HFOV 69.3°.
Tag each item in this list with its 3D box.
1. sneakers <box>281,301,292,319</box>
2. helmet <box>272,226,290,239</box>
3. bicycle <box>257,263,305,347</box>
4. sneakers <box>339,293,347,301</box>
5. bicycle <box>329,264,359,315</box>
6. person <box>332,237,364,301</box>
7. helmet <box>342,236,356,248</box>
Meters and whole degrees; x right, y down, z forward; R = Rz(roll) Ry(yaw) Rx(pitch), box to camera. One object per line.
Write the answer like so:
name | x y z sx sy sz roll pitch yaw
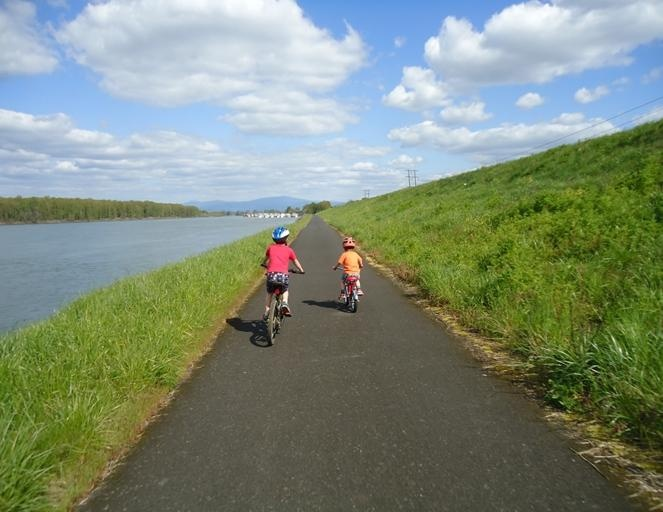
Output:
sneakers | -0.890 1.056 9.350 0.124 0.184 0.405 -3 -24 -2
helmet | -0.989 -0.389 9.287 0.217 0.274 0.325 2 27 21
bicycle | -0.934 1.026 9.176 0.673 0.983 1.489 1 21 -3
sneakers | 0.271 0.958 11.264 0.200 0.123 0.294 1 0 -1
bicycle | 0.403 0.786 10.789 0.231 0.822 0.761 -3 8 -19
person | 0.447 0.271 11.074 0.623 1.366 1.936 1 6 -10
helmet | 0.397 -0.309 11.094 0.260 0.376 0.368 -1 5 -3
